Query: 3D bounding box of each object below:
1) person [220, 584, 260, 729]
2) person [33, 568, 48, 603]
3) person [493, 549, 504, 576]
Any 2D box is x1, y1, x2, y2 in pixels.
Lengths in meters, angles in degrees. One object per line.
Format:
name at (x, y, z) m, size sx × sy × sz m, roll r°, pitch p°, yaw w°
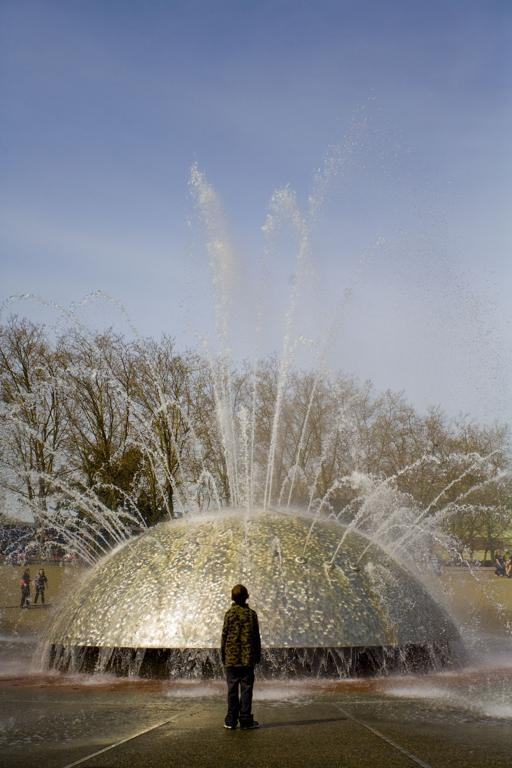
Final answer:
person at (-0.136, 2.420, 6.689) m, size 0.348 × 1.179 × 0.624 m, roll 1°, pitch -15°, yaw -2°
person at (-7.680, 7.253, 26.593) m, size 0.407 × 1.221 × 2.227 m, roll 4°, pitch -16°, yaw -15°
person at (11.860, 8.780, 36.063) m, size 0.415 × 0.940 × 1.132 m, roll -5°, pitch -16°, yaw 17°
